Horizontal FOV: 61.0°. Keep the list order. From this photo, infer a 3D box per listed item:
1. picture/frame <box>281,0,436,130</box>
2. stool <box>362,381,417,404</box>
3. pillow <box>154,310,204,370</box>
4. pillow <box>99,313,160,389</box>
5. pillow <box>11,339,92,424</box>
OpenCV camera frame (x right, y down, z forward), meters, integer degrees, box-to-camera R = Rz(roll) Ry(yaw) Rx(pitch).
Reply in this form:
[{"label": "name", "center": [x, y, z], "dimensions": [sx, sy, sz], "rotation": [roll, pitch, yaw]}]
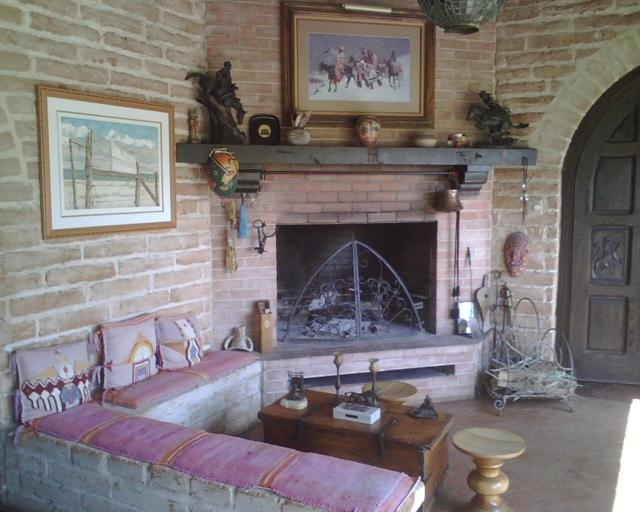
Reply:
[{"label": "picture/frame", "center": [0.252, -1.575, 4.397], "dimensions": [1.340, 0.783, 0.053], "rotation": [-1, 4, -13]}, {"label": "stool", "center": [0.466, 0.934, 3.734], "dimensions": [0.404, 0.116, 0.363], "rotation": [-1, 8, 1]}, {"label": "pillow", "center": [-1.040, 0.620, 3.936], "dimensions": [0.209, 0.340, 0.386], "rotation": [-21, -16, 28]}, {"label": "pillow", "center": [-1.275, 0.649, 3.669], "dimensions": [0.188, 0.402, 0.421], "rotation": [3, 6, 30]}, {"label": "pillow", "center": [-1.605, 0.754, 3.197], "dimensions": [0.195, 0.446, 0.521], "rotation": [-28, -19, 38]}]
